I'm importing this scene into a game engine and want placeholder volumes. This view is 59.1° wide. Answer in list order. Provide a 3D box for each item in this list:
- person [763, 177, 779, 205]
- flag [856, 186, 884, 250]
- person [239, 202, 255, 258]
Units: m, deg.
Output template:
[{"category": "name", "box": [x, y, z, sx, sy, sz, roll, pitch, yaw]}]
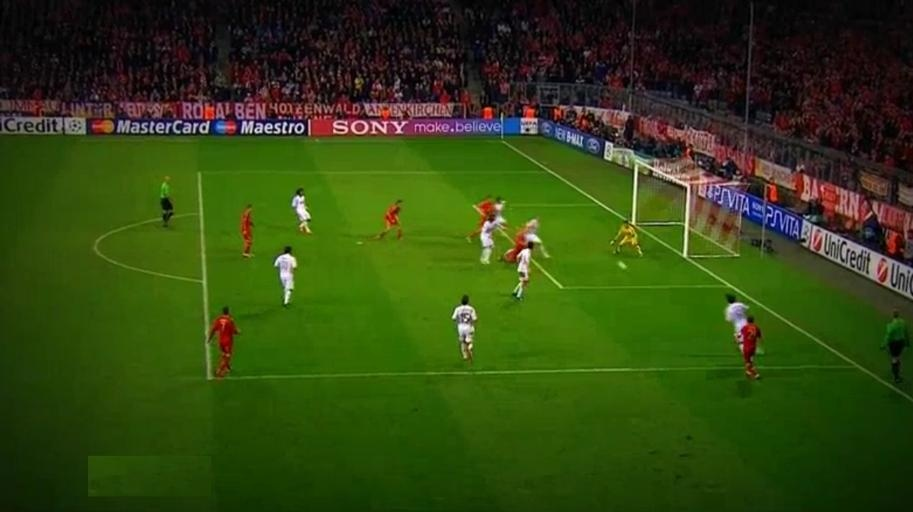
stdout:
[{"category": "person", "box": [18.301, -3.824, 46.922, 0.462, 1.394, 0.875, -12, 21, -25]}, {"category": "flag", "box": [21.578, -1.773, 41.734, 0.928, 2.263, 2.094, 4, 20, 19]}, {"category": "person", "box": [-11.323, -1.301, 43.295, 1.001, 3.022, 1.019, 9, 57, -6]}]
